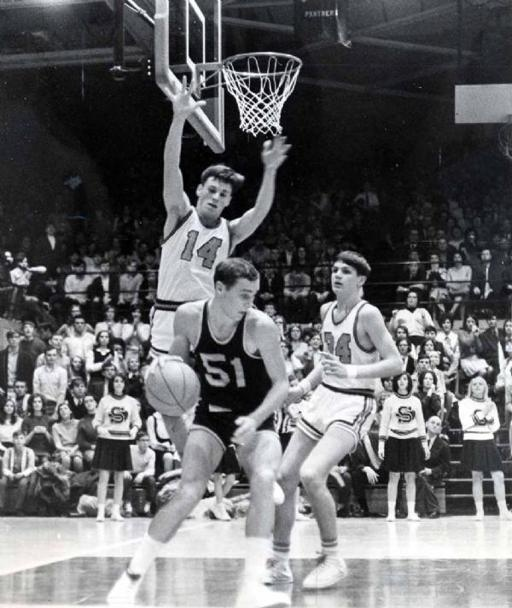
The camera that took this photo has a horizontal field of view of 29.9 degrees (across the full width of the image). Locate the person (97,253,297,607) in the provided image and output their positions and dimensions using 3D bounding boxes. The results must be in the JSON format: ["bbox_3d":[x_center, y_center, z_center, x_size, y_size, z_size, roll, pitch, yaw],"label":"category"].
[{"bbox_3d":[-0.192,0.615,4.655,0.760,1.683,0.442,3,-4,-2],"label":"person"}]

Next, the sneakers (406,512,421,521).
[{"bbox_3d":[1.537,2.091,9.403,0.112,0.070,0.160,3,-5,7],"label":"sneakers"}]

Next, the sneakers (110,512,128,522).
[{"bbox_3d":[-1.372,2.075,9.333,0.250,0.109,0.086,-13,-15,43],"label":"sneakers"}]

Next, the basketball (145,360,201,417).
[{"bbox_3d":[-0.433,0.429,4.757,0.262,0.262,0.313,-10,-21,-18],"label":"basketball"}]

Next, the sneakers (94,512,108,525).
[{"bbox_3d":[-1.503,2.087,9.301,0.106,0.150,0.339,1,-13,-4],"label":"sneakers"}]

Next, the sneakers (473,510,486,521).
[{"bbox_3d":[2.243,2.130,9.575,0.065,0.081,0.191,-2,-20,7],"label":"sneakers"}]

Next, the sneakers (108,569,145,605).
[{"bbox_3d":[-0.622,1.318,4.446,0.169,0.162,0.119,3,-4,8],"label":"sneakers"}]

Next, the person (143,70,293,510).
[{"bbox_3d":[-0.247,-0.085,5.499,0.749,2.060,0.667,5,-21,2],"label":"person"}]

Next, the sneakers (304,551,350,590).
[{"bbox_3d":[0.374,1.448,5.175,0.107,0.147,0.324,-8,-7,27],"label":"sneakers"}]
